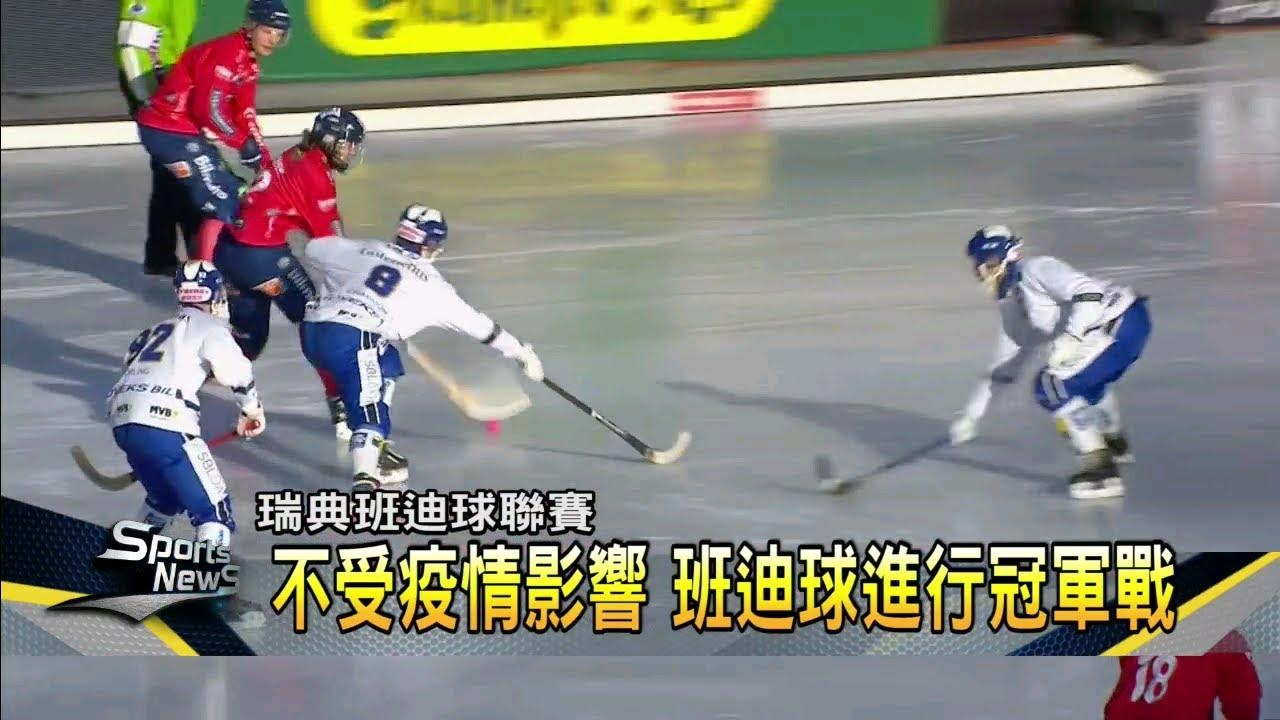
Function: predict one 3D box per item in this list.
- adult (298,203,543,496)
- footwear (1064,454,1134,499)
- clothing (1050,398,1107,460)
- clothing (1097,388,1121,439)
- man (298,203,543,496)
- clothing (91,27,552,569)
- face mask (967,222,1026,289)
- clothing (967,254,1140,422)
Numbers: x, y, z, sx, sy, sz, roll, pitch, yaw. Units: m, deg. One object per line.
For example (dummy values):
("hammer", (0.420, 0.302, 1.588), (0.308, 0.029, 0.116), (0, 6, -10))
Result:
("adult", (-1.693, -0.110, 12.278), (1.369, 2.052, 1.567), (-17, 41, -39))
("footwear", (3.196, 0.812, 11.862), (0.415, 0.235, 0.332), (-6, 51, 3))
("clothing", (3.116, 0.506, 12.048), (0.359, 0.155, 0.401), (-29, 89, -12))
("clothing", (3.357, 0.399, 12.082), (0.199, 0.117, 0.330), (1, 92, 33))
("man", (-1.746, -0.170, 12.363), (1.388, 2.067, 1.539), (-9, 36, -30))
("clothing", (-2.444, -0.328, 12.695), (2.638, 3.285, 1.836), (42, 54, 12))
("face mask", (2.515, -0.738, 12.239), (0.453, 0.459, 0.365), (14, 13, -3))
("clothing", (2.772, -0.125, 12.311), (1.445, 0.881, 0.965), (-24, 92, -1))
